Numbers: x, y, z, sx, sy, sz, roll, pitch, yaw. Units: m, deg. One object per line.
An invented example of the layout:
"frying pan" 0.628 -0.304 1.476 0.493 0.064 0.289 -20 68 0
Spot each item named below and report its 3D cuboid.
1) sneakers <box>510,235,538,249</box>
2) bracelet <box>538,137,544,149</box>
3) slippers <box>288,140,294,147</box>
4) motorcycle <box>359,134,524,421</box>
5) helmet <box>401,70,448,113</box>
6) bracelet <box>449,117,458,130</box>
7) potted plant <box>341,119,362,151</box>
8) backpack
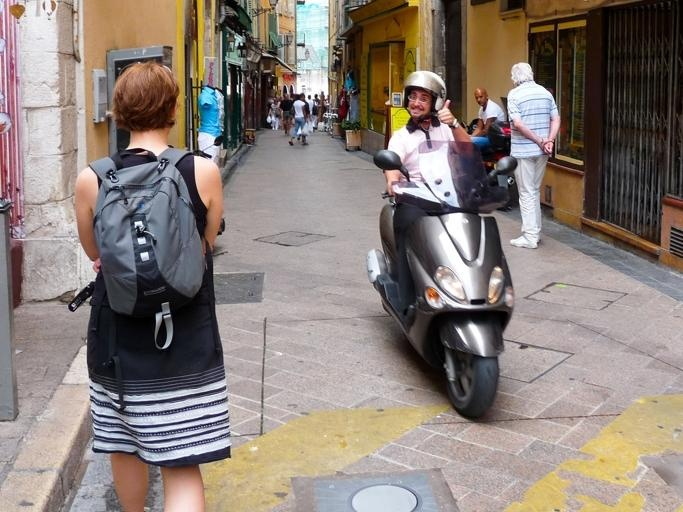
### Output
"sneakers" 2.429 -0.198 8.708 0.140 0.173 0.382 -3 10 -32
"bracelet" 2.590 -1.456 8.406 0.051 0.124 0.084 3 13 18
"slippers" -2.256 -5.066 28.836 0.168 0.256 0.453 1 15 4
"motorcycle" 0.704 0.050 4.161 0.778 1.457 1.990 -2 10 -8
"helmet" 0.623 -1.229 4.819 0.252 0.257 0.320 4 5 24
"bracelet" 0.848 -1.002 4.882 0.056 0.087 0.093 1 23 9
"potted plant" 0.421 -4.711 25.365 0.719 1.063 1.037 0 13 4
"backpack" -0.710 -0.069 2.353 0.391 0.533 0.270 -2 12 -6
